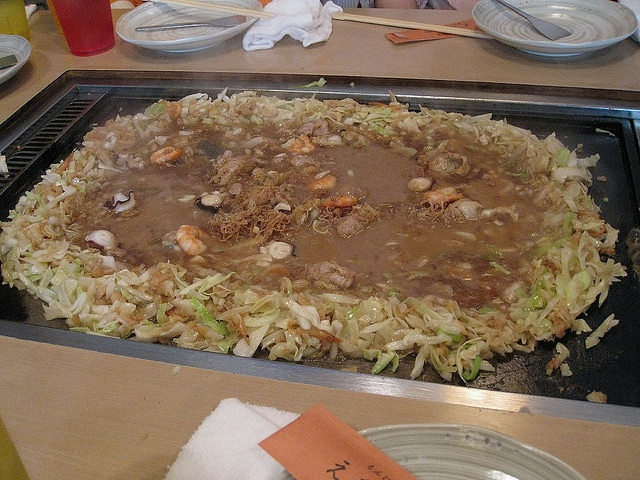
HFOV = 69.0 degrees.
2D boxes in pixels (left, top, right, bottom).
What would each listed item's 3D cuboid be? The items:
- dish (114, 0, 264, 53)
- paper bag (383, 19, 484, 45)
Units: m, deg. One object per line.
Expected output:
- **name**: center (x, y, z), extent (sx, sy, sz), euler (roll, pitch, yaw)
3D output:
- **dish**: center (-0.644, -1.010, 2.198), extent (0.505, 0.086, 0.435), euler (4, 36, 4)
- **paper bag**: center (0.522, -0.957, 2.132), extent (0.445, 0.040, 0.154), euler (-15, 52, -8)
